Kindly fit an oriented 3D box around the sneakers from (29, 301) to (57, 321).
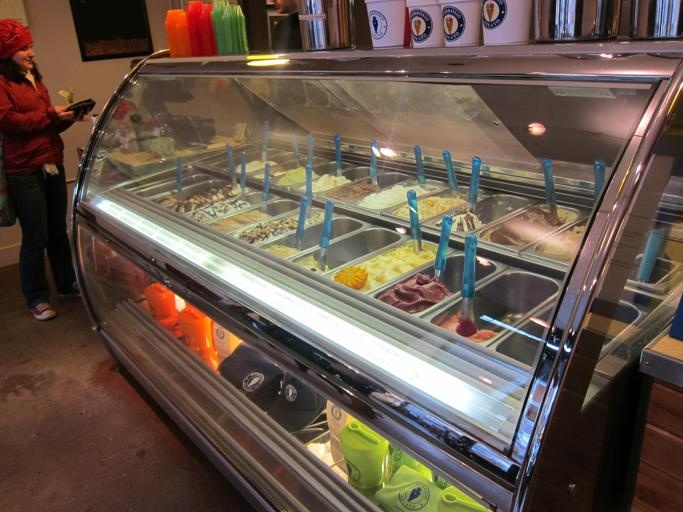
[{"bbox_3d":[-2.361,0.421,3.281,0.099,0.099,0.253,-9,13,-40],"label":"sneakers"}]
